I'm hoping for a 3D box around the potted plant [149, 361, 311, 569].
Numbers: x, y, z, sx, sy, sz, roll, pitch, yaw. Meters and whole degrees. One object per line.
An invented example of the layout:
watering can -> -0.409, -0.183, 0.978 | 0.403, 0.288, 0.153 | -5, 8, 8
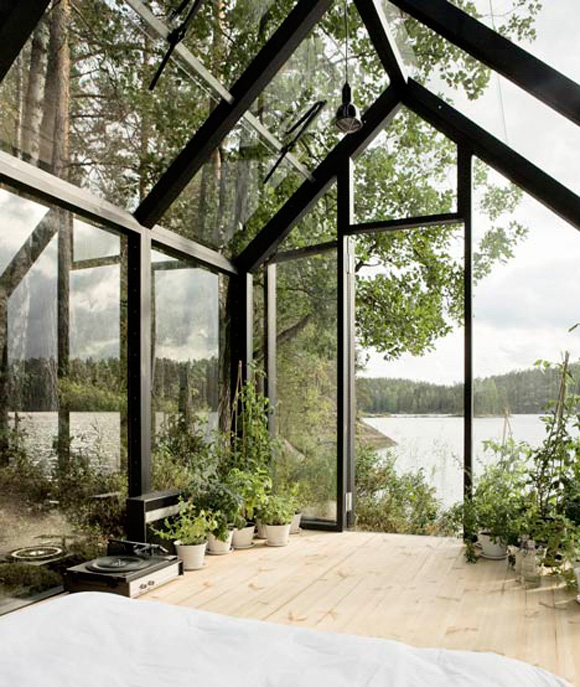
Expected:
potted plant -> -0.406, 0.811, 4.791 | 0.799, 1.393, 1.708 | 0, -5, 11
